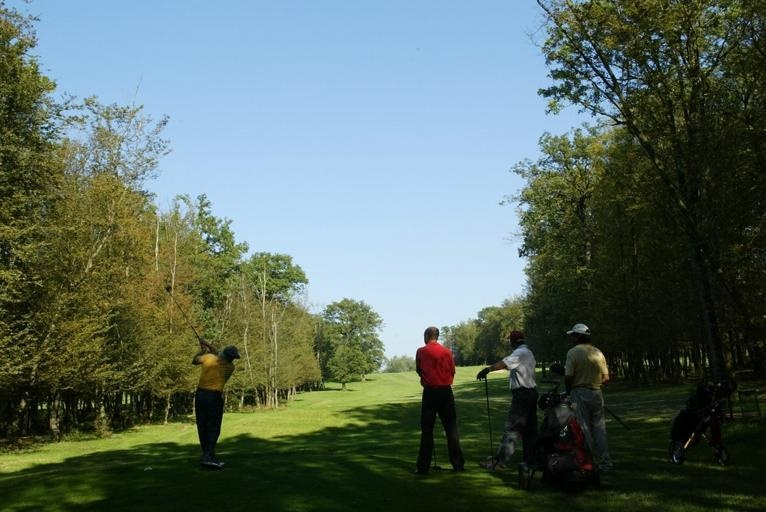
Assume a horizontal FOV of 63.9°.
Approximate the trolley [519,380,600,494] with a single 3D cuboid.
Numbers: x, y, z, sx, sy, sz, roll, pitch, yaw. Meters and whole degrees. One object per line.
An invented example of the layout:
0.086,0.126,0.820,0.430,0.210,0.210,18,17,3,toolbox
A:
5.102,5.266,17.660,2.259,2.550,2.201,1,-19,0,trolley
